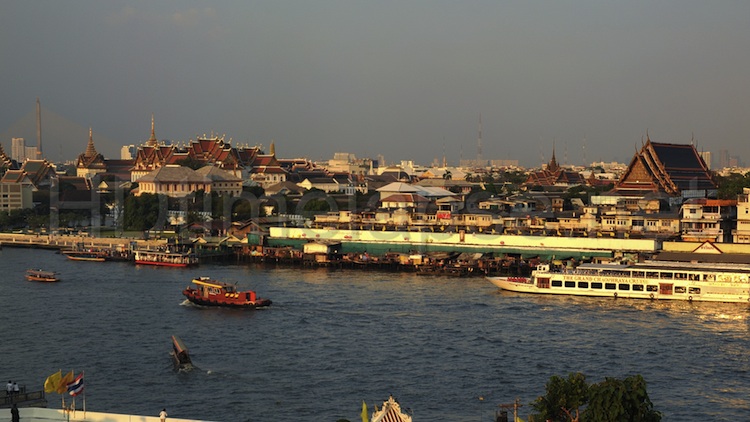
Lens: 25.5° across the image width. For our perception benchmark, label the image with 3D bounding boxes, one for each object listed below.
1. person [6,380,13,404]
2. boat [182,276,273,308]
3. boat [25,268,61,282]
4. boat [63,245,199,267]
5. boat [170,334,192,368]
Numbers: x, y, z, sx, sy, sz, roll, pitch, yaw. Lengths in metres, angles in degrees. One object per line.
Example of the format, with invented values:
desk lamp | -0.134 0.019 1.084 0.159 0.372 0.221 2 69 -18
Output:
person | -14.572 7.316 66.288 0.282 0.797 0.557 3 -5 -12
boat | -6.891 3.929 77.055 4.303 1.150 1.557 5 2 21
boat | -16.207 3.252 81.176 1.876 0.557 0.824 1 -4 8
boat | -12.483 2.414 86.732 6.156 0.717 0.857 3 2 31
boat | -8.421 6.055 71.467 0.525 0.550 2.093 4 15 -21
